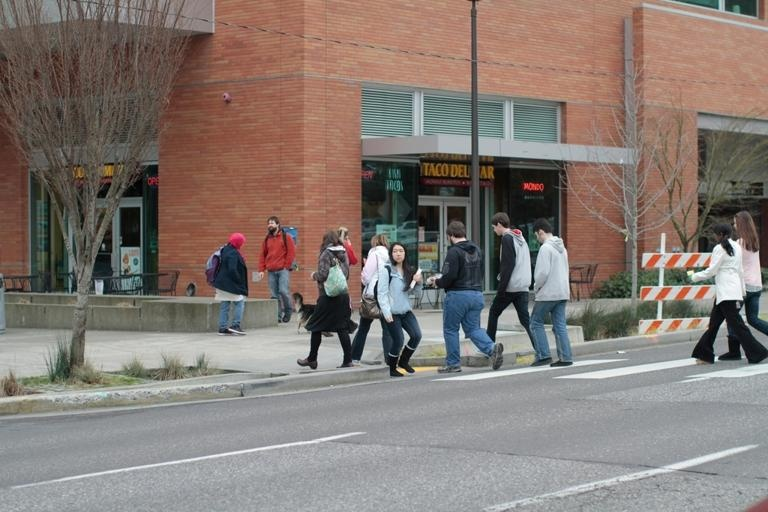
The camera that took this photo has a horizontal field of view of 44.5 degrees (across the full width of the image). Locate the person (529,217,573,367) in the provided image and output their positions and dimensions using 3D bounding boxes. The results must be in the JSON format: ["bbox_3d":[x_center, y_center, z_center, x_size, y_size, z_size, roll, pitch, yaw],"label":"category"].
[{"bbox_3d":[2.997,0.653,17.051,0.734,2.469,0.916,-2,0,10],"label":"person"}]

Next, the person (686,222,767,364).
[{"bbox_3d":[6.074,0.659,16.580,1.148,2.191,0.628,-2,0,21],"label":"person"}]

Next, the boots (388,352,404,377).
[{"bbox_3d":[0.157,1.957,16.697,0.407,0.474,0.254,-3,-3,20],"label":"boots"}]

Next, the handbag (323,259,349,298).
[{"bbox_3d":[-0.886,0.402,16.595,0.579,0.836,0.359,-1,-8,-10],"label":"handbag"}]

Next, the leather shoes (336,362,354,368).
[{"bbox_3d":[-0.722,1.962,16.808,0.113,0.133,0.300,2,-1,-42],"label":"leather shoes"}]

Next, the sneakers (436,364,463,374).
[{"bbox_3d":[1.180,2.022,16.751,0.405,0.201,0.154,3,-1,0],"label":"sneakers"}]

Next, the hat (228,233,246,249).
[{"bbox_3d":[-3.375,-0.350,21.468,0.261,0.292,0.374,37,-5,20],"label":"hat"}]

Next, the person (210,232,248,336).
[{"bbox_3d":[-3.393,0.627,20.441,0.738,2.239,0.529,-2,0,-6],"label":"person"}]

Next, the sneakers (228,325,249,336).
[{"bbox_3d":[-3.187,1.648,20.470,0.426,0.197,0.160,3,-2,13],"label":"sneakers"}]

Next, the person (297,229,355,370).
[{"bbox_3d":[-1.035,0.770,16.923,0.877,2.418,0.977,-2,0,3],"label":"person"}]

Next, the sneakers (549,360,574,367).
[{"bbox_3d":[3.204,1.954,16.975,0.410,0.176,0.142,-5,-2,24],"label":"sneakers"}]

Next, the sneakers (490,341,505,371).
[{"bbox_3d":[1.990,1.831,16.738,0.199,0.524,0.224,-11,15,-34],"label":"sneakers"}]

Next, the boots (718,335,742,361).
[{"bbox_3d":[6.288,1.706,16.943,0.505,0.524,0.280,2,-2,15],"label":"boots"}]

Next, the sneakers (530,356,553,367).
[{"bbox_3d":[2.852,1.920,17.068,0.428,0.193,0.150,-4,5,-2],"label":"sneakers"}]

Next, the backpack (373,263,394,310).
[{"bbox_3d":[-0.005,0.552,16.311,0.273,0.830,0.391,-2,0,14],"label":"backpack"}]

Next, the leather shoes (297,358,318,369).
[{"bbox_3d":[-1.381,1.900,16.550,0.382,0.208,0.147,14,2,6],"label":"leather shoes"}]
